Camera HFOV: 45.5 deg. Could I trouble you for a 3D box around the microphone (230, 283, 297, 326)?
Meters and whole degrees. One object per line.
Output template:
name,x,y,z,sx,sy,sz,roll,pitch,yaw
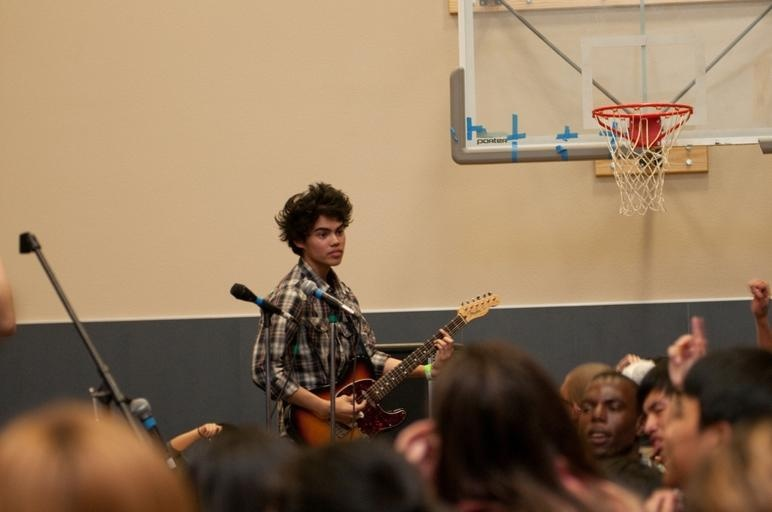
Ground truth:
microphone,-0.690,0.286,5.167,0.386,0.074,0.075,34,14,-15

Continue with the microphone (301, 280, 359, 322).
microphone,-0.277,0.222,4.686,0.318,0.115,0.112,28,15,3

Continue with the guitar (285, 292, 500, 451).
guitar,0.084,0.584,4.941,1.316,0.488,0.164,-37,23,20

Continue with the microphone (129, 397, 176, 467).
microphone,-1.198,0.943,4.824,0.115,0.397,0.120,-33,1,-8

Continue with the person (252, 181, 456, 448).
person,-0.264,0.270,4.914,0.854,1.344,0.619,-1,3,2
